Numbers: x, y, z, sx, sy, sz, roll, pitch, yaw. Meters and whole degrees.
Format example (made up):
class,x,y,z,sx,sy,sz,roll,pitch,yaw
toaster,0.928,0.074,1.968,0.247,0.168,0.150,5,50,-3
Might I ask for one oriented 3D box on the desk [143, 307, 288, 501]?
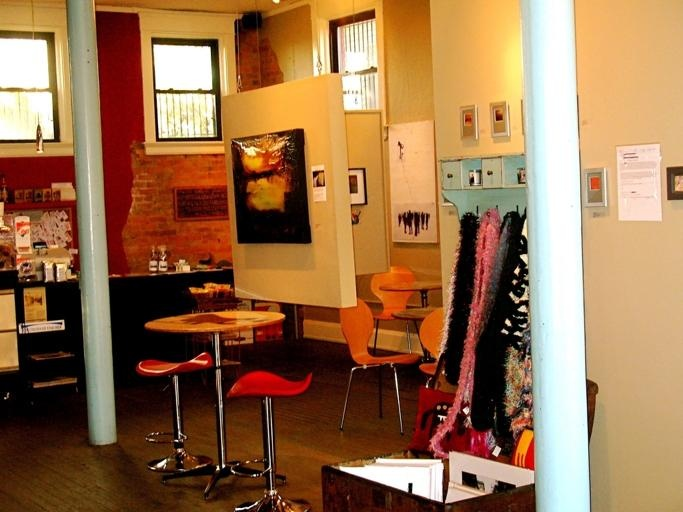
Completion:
class,x,y,z,sx,sy,sz,roll,pitch,yaw
desk,-0.929,1.110,5.246,1.302,1.506,1.263,-2,4,-38

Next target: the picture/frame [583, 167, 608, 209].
class,x,y,z,sx,sy,sz,roll,pitch,yaw
picture/frame,1.222,-0.327,2.849,0.033,0.185,0.118,-3,3,-33

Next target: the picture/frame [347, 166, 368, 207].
class,x,y,z,sx,sy,sz,roll,pitch,yaw
picture/frame,0.184,-0.751,6.383,0.176,0.408,0.461,-2,3,3

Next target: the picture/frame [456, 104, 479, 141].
class,x,y,z,sx,sy,sz,roll,pitch,yaw
picture/frame,0.742,-0.769,3.452,0.023,0.204,0.140,-4,3,-38

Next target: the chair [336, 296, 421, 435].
class,x,y,z,sx,sy,sz,roll,pitch,yaw
chair,0.392,1.004,6.725,0.785,1.315,2.362,-2,3,4

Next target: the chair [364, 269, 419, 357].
class,x,y,z,sx,sy,sz,roll,pitch,yaw
chair,0.696,0.682,8.309,0.876,1.556,1.053,0,-1,-2
